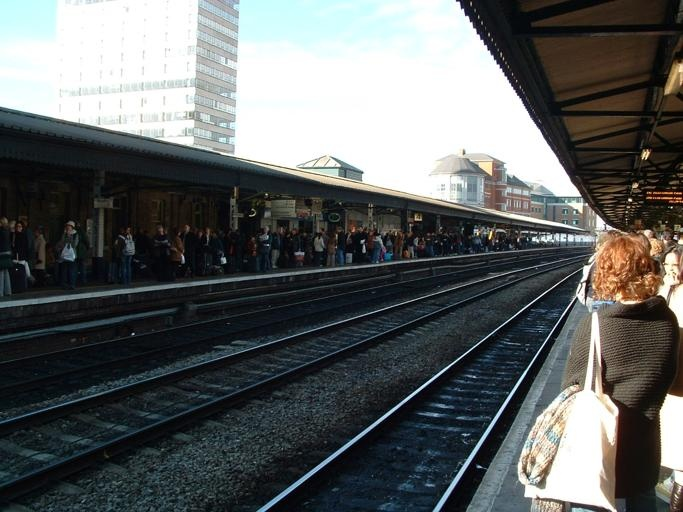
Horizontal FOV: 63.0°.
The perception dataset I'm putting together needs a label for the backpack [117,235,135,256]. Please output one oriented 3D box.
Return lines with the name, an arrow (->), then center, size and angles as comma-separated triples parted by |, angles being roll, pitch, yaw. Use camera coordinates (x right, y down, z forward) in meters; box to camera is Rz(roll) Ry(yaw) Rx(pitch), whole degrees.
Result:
backpack -> -6.156, -0.317, 16.077 | 0.398, 0.585, 0.270 | -3, 3, -30
